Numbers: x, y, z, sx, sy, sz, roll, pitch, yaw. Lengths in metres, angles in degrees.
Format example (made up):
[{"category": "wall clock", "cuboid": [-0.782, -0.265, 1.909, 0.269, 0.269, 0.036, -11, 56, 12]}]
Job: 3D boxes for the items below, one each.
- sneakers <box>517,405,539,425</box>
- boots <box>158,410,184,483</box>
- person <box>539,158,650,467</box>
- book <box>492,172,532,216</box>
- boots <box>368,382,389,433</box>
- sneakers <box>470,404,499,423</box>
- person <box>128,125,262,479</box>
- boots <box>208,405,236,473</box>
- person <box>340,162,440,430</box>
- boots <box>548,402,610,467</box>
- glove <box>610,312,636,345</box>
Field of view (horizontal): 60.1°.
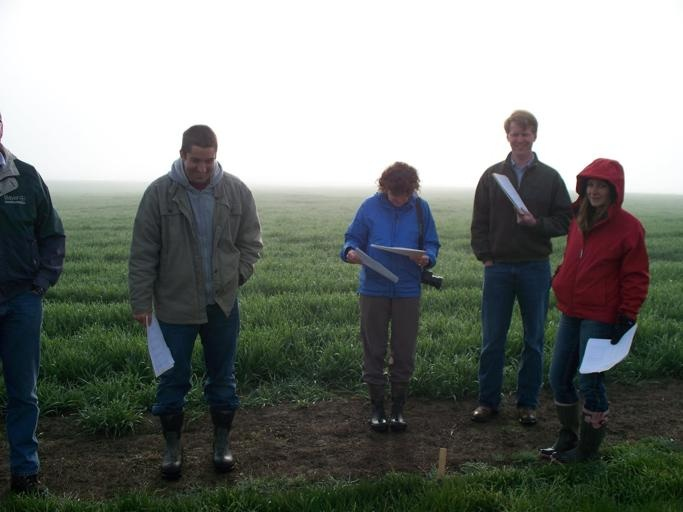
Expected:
[{"category": "sneakers", "cuboid": [2.167, 1.829, 6.799, 0.232, 0.172, 0.257, 4, 15, 10]}, {"category": "boots", "cuboid": [-1.613, 1.833, 5.725, 0.204, 0.565, 0.318, -2, 15, -11]}, {"category": "person", "cuboid": [2.445, 0.589, 5.816, 0.739, 2.998, 0.905, -11, 18, -40]}, {"category": "book", "cuboid": [1.944, -0.707, 6.705, 0.379, 0.419, 0.472, -9, 18, -33]}, {"category": "boots", "cuboid": [0.434, 1.728, 6.666, 0.218, 0.490, 0.485, -4, -1, 2]}, {"category": "sneakers", "cuboid": [1.670, 1.827, 6.858, 0.369, 0.165, 0.135, 6, -10, -41]}, {"category": "person", "cuboid": [-1.385, 0.400, 5.817, 1.245, 3.271, 0.866, -5, 15, -21]}, {"category": "boots", "cuboid": [-1.173, 1.857, 5.972, 0.242, 0.608, 0.597, 2, -2, -18]}, {"category": "person", "cuboid": [0.546, 0.407, 6.723, 0.911, 2.993, 1.043, 11, 17, 35]}, {"category": "boots", "cuboid": [2.250, 1.779, 5.789, 0.614, 0.762, 0.367, 5, 18, 18]}, {"category": "glove", "cuboid": [2.605, 0.684, 5.491, 0.254, 0.248, 0.199, 1, 1, 34]}]
